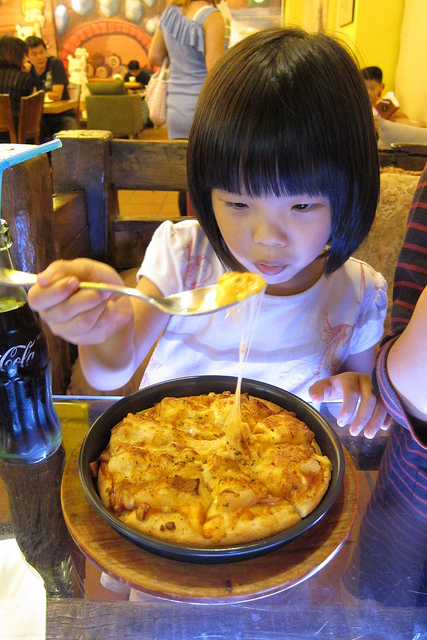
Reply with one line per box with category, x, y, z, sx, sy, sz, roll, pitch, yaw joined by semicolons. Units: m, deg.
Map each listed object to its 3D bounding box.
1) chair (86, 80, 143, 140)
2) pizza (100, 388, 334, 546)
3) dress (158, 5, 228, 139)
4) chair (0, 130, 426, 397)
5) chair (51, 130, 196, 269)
chair;-1.396;-2.917;6.772;0.673;0.842;0.663;-5;24;-7
pizza;-0.011;0.195;0.702;0.359;0.044;0.360;-6;17;-18
dress;-0.148;-1.386;2.763;0.350;0.691;0.193;12;25;22
chair;-0.021;-0.118;1.084;0.851;0.640;0.484;0;19;-1
chair;-0.302;-0.417;2.048;0.676;0.697;0.509;-1;20;-2
